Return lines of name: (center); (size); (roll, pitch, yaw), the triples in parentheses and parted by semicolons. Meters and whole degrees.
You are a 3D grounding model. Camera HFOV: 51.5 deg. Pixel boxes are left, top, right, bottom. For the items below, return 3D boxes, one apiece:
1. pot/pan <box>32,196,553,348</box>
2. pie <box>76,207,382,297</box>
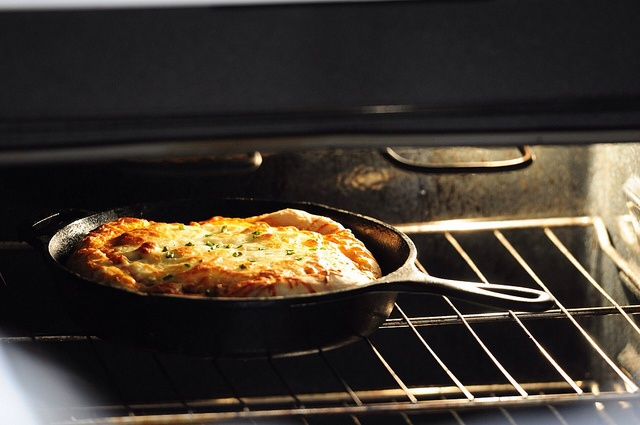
pot/pan: (-0.057, 0.106, 1.047); (0.805, 0.456, 0.084); (8, -75, 6)
pie: (-0.143, 0.067, 1.077); (0.497, 0.516, 0.049); (0, -79, -19)
